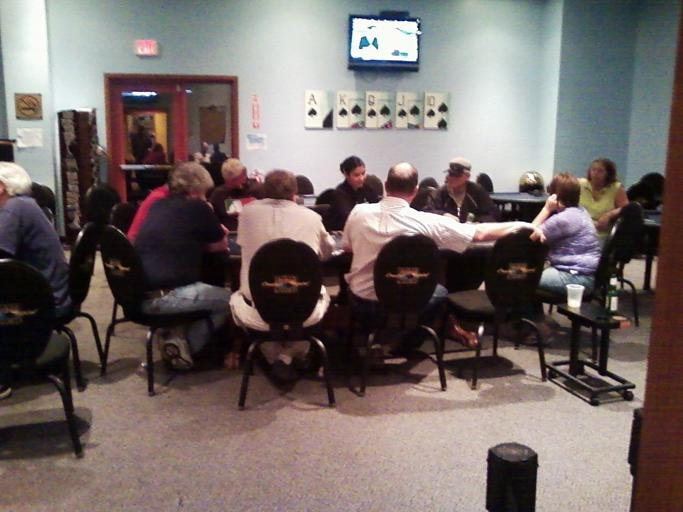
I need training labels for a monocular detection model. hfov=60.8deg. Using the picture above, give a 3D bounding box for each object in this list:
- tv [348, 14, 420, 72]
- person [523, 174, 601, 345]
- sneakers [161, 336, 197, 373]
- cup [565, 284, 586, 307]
[{"bbox_3d":[0.431,-2.117,5.801,0.775,0.502,0.108,0,1,-7],"label":"tv"},{"bbox_3d":[1.454,0.034,4.059,0.684,1.145,0.512,6,4,32],"label":"person"},{"bbox_3d":[-1.008,0.591,3.569,0.211,0.207,0.074,22,31,6],"label":"sneakers"},{"bbox_3d":[1.435,0.239,3.575,0.132,0.135,0.130,-1,7,0],"label":"cup"}]
